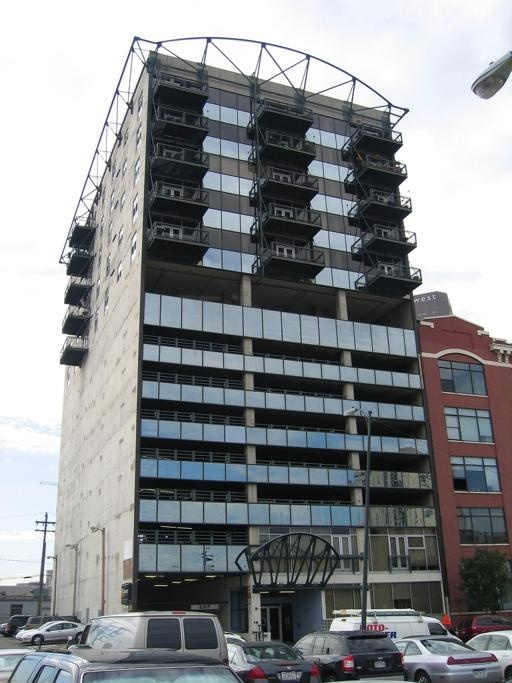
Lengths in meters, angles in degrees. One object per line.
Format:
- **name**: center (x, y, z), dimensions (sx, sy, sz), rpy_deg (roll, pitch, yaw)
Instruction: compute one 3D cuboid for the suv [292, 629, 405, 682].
- **suv**: center (1.919, 7.233, 16.617), dimensions (1.197, 0.875, 2.373), rpy_deg (13, -22, -26)
